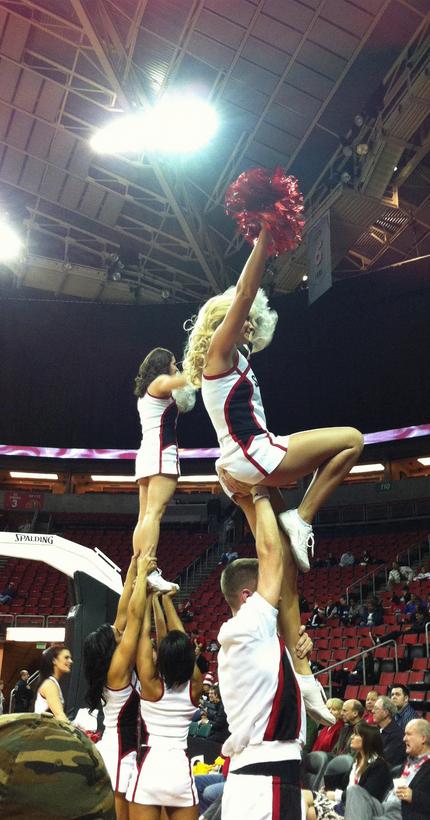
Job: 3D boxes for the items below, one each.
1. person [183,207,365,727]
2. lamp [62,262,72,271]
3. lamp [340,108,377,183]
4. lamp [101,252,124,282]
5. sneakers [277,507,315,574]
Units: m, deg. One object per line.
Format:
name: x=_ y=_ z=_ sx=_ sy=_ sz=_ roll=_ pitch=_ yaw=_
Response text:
person: x=0.204 y=0.140 z=2.645 sx=0.810 sy=2.022 sz=0.764 roll=10 pitch=-15 yaw=-38
lamp: x=-5.910 y=-5.697 z=21.508 sx=0.345 sy=0.178 sz=0.375 roll=-9 pitch=-16 yaw=38
lamp: x=4.211 y=-7.680 z=16.353 sx=0.593 sy=0.845 sz=2.310 roll=14 pitch=-40 yaw=12
lamp: x=-4.038 y=-5.627 z=21.393 sx=0.741 sy=0.683 sz=1.313 roll=4 pitch=-13 yaw=-14
sneakers: x=0.353 y=0.542 z=2.321 sx=0.132 sy=0.320 sz=0.110 roll=-19 pitch=10 yaw=5
